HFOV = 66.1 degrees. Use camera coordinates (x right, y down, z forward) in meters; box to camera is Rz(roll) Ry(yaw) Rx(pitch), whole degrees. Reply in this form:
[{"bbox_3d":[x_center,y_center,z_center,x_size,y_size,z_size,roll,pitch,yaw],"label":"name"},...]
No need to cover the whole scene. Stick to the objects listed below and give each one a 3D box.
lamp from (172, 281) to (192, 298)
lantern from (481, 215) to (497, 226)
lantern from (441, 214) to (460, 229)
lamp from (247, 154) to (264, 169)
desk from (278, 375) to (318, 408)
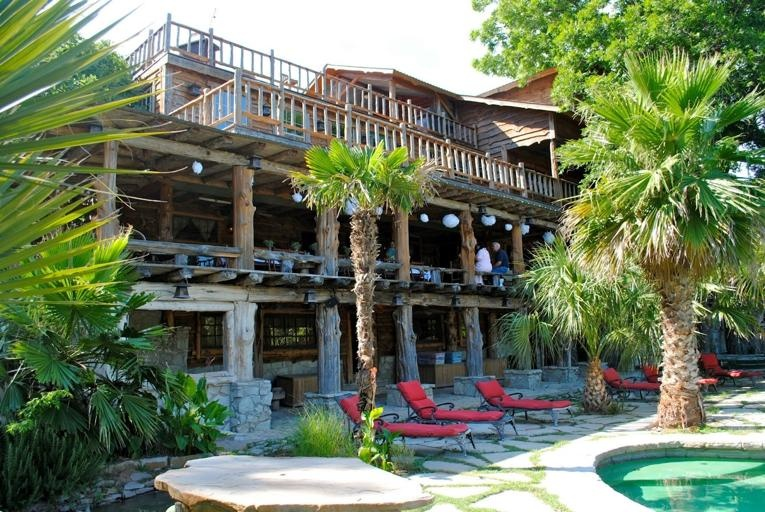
[{"bbox_3d":[-4.172,0.716,12.484,0.370,0.333,0.346,-5,-8,19],"label":"lamp"},{"bbox_3d":[3.416,-1.171,18.898,0.421,0.326,0.383,-9,6,9],"label":"lantern"},{"bbox_3d":[2.063,-1.054,17.365,0.550,0.358,0.513,-7,-3,0],"label":"lantern"},{"bbox_3d":[-2.951,-2.200,13.809,0.243,0.315,0.372,-10,-14,25],"label":"lamp"},{"bbox_3d":[-2.269,3.715,16.021,0.845,0.820,1.455,-1,-4,41],"label":"desk"}]
